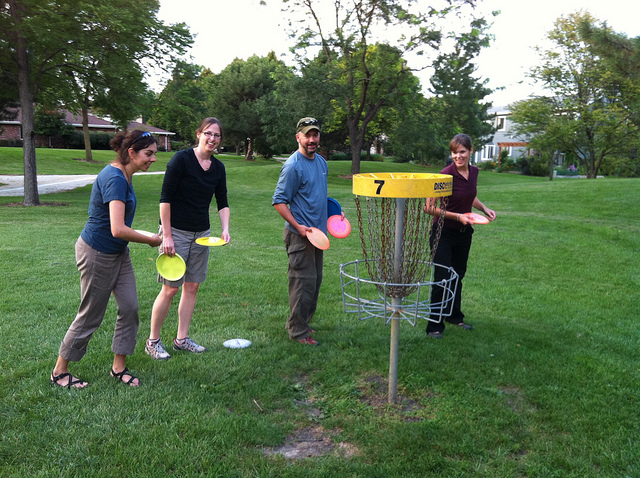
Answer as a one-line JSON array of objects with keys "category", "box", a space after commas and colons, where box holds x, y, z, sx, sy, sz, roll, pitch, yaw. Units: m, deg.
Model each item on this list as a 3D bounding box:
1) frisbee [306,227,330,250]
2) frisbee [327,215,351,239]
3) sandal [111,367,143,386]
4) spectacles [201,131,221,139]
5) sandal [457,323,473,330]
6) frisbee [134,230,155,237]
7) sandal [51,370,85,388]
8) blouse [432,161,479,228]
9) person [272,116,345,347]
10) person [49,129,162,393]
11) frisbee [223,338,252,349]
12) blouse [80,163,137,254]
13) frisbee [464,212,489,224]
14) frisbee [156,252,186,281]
[{"category": "frisbee", "box": [-0.034, 0.028, 6.430, 0.259, 0.244, 0.594, 2, 9, -1]}, {"category": "frisbee", "box": [0.213, -0.136, 6.395, 0.256, 0.264, 0.423, 3, 9, 0]}, {"category": "sandal", "box": [-2.127, 1.516, 6.120, 0.207, 0.111, 0.392, -6, 13, -43]}, {"category": "spectacles", "box": [-1.281, -1.233, 6.537, 0.212, 0.080, 0.063, 1, 9, -9]}, {"category": "sandal", "box": [1.990, 1.190, 7.538, 0.057, 0.065, 0.160, -7, 11, -33]}, {"category": "frisbee", "box": [-2.281, -0.081, 7.173, 0.263, 0.064, 0.253, 13, 1, 2]}, {"category": "sandal", "box": [-2.771, 1.513, 6.001, 0.384, 0.151, 0.142, 5, 7, -2]}, {"category": "blouse", "box": [1.800, -0.590, 7.275, 0.483, 0.859, 0.638, 5, 9, 14]}, {"category": "person", "box": [-0.233, -0.117, 7.019, 0.710, 2.845, 1.369, 3, 9, 0]}, {"category": "person", "box": [-2.426, 0.133, 6.408, 1.144, 2.809, 1.581, 0, 10, -17]}, {"category": "frisbee", "box": [-1.034, 1.311, 6.949, 0.360, 0.064, 0.215, 1, 9, -10]}, {"category": "blouse", "box": [-2.306, -0.365, 6.109, 0.491, 0.930, 0.886, 6, 9, -17]}, {"category": "frisbee", "box": [1.899, -0.235, 6.635, 0.304, 0.110, 0.415, 1, 9, -13]}, {"category": "frisbee", "box": [-1.684, 0.331, 6.253, 0.292, 0.355, 0.292, 0, 9, -17]}]
